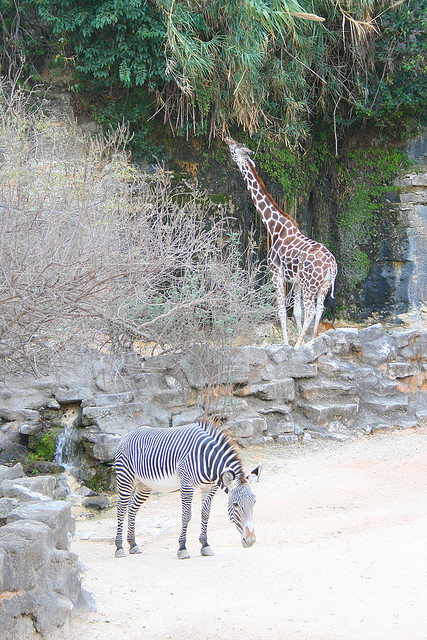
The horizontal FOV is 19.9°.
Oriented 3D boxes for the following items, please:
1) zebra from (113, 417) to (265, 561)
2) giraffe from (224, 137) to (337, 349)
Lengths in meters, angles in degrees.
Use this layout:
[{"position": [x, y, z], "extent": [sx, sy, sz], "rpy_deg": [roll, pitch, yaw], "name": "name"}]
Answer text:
[{"position": [-0.302, 1.674, 11.937], "extent": [1.604, 1.424, 0.492], "rpy_deg": [-1, 0, 34], "name": "zebra"}, {"position": [1.078, -1.118, 17.602], "extent": [0.901, 2.603, 1.796], "rpy_deg": [-5, 13, -30], "name": "giraffe"}]
